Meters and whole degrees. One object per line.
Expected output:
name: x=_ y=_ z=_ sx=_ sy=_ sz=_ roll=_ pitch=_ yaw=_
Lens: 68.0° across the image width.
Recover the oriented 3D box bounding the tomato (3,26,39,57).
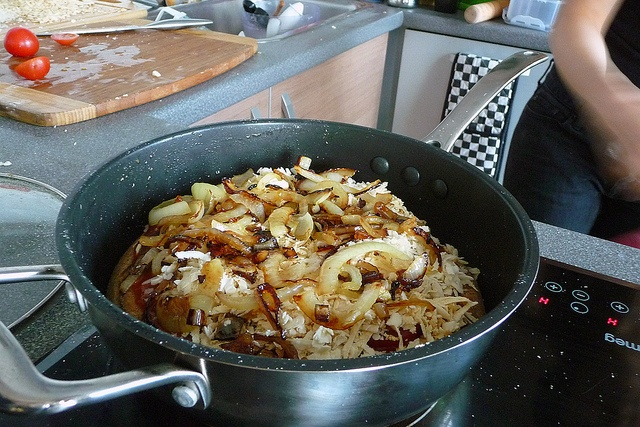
tomato: x=-0.845 y=-0.485 z=1.343 sx=0.072 sy=0.073 sz=0.094 roll=-8 pitch=39 yaw=-43
